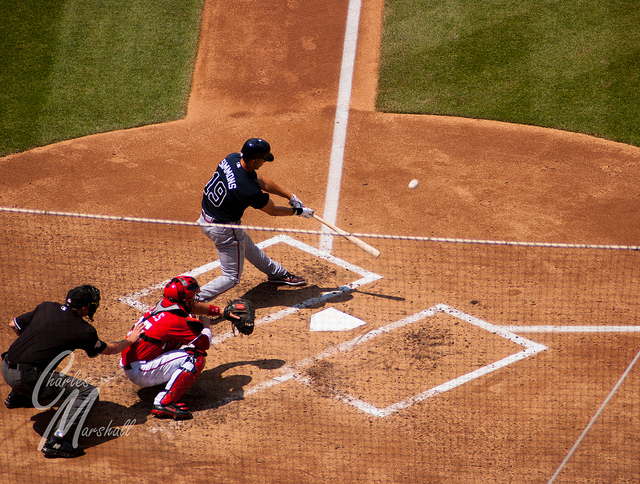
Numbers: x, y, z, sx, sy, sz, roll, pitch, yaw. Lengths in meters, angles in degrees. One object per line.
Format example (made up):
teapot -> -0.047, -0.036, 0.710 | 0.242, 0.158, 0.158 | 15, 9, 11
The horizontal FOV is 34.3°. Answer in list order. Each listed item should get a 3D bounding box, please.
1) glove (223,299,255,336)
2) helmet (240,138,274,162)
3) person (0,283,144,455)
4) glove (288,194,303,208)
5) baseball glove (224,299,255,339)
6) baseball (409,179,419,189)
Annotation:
glove -> -1.333, 1.239, 16.844 | 0.500, 0.607, 0.368 | -4, 25, -3
helmet -> -0.999, -1.529, 17.156 | 0.565, 0.253, 0.323 | 5, 39, -24
person -> -3.982, 1.944, 15.984 | 1.594, 2.514, 1.195 | -17, 29, -27
glove -> -0.428, -0.700, 18.033 | 0.198, 0.236, 0.257 | 53, 22, 13
baseball glove -> -1.303, 1.205, 16.861 | 0.522, 0.505, 0.285 | -7, 4, -2
baseball -> 1.731, -1.076, 19.226 | 0.189, 0.102, 0.216 | -1, 2, 2
